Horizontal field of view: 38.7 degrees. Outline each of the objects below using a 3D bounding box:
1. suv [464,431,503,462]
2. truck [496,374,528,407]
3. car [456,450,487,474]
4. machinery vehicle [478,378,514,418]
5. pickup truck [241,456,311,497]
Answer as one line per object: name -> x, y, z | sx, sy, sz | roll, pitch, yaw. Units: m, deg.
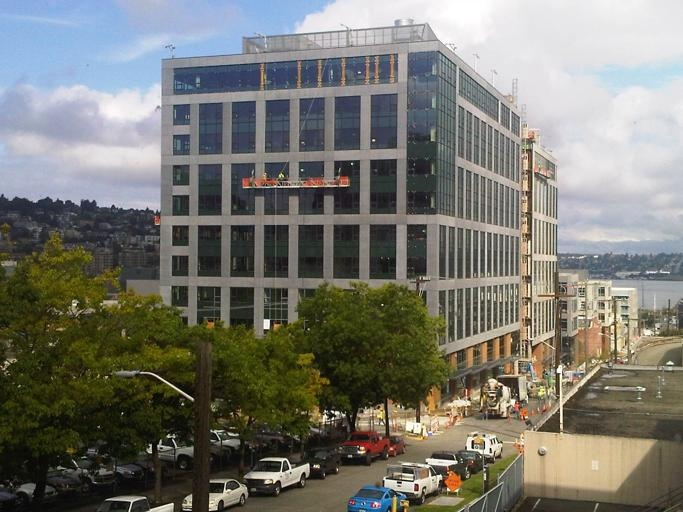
suv -> 12.283, 16.526, 84.420 | 1.823, 1.919, 3.379 | 0, 1, 27
truck -> 20.010, 16.859, 114.765 | 2.863, 4.203, 5.280 | -1, -3, 28
car -> 10.519, 16.680, 79.086 | 1.411, 1.167, 3.118 | -3, -1, 22
machinery vehicle -> 17.108, 15.634, 110.755 | 3.268, 3.931, 6.440 | -1, 5, 10
pickup truck -> -4.965, 16.711, 74.735 | 3.500, 2.644, 6.910 | -6, -7, 24
